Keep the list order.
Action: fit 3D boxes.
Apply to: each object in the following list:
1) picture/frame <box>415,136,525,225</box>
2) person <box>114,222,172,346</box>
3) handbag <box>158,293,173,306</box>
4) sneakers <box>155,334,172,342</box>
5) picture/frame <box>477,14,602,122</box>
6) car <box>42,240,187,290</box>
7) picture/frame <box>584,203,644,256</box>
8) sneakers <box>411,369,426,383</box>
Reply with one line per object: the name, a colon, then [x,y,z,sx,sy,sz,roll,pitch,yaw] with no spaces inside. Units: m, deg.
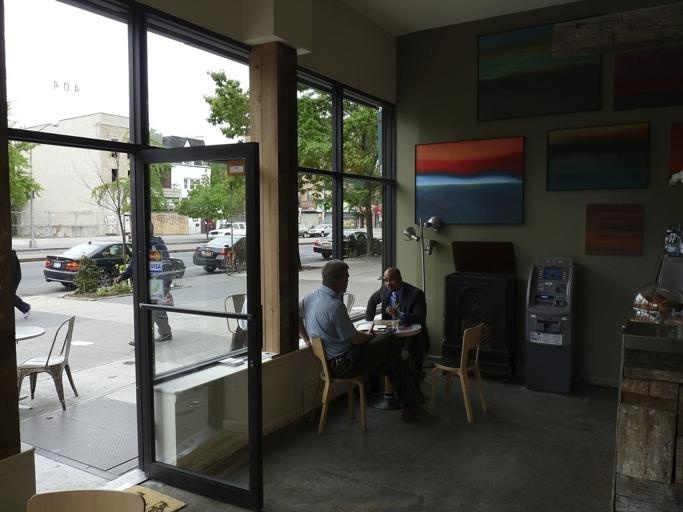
picture/frame: [1.761,-1.028,7.296,1.379,1.125,0.266,2,8,19]
person: [-1.774,0.171,4.847,0.268,0.987,1.153,-4,8,-26]
handbag: [-1.437,0.362,4.416,0.095,0.096,0.024,6,-3,21]
sneakers: [-1.481,0.685,4.462,0.140,0.066,0.053,3,-1,0]
picture/frame: [2.413,-2.252,6.398,1.549,1.248,0.064,1,5,29]
car: [-3.566,0.155,8.126,0.898,0.708,2.118,2,5,39]
picture/frame: [3.354,-0.331,6.507,0.592,0.647,0.047,3,1,35]
sneakers: [0.884,1.376,6.128,0.174,0.205,0.230,-1,-7,8]
